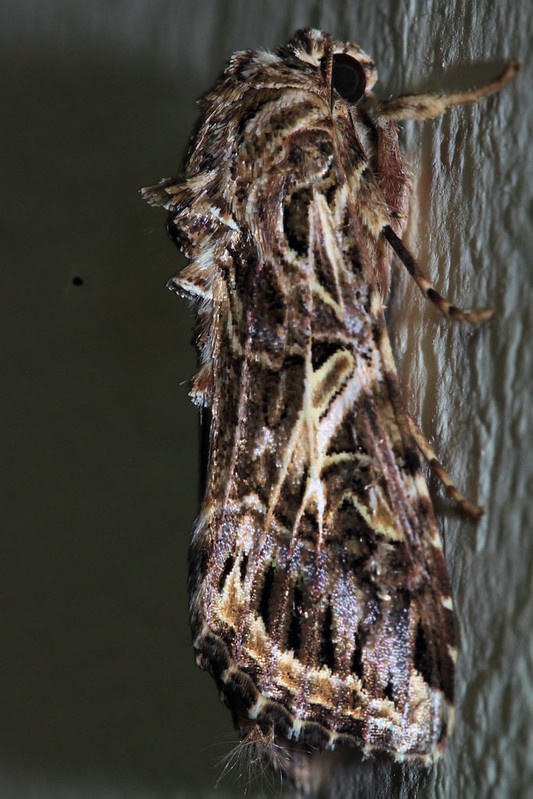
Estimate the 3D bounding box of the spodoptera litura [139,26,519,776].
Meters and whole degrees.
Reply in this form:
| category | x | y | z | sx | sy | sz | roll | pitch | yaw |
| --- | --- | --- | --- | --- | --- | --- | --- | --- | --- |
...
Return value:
| category | x | y | z | sx | sy | sz | roll | pitch | yaw |
| --- | --- | --- | --- | --- | --- | --- | --- | --- | --- |
| spodoptera litura | 0.101 | -0.010 | 0.972 | 0.168 | 0.607 | 0.380 | 3 | -10 | -44 |
